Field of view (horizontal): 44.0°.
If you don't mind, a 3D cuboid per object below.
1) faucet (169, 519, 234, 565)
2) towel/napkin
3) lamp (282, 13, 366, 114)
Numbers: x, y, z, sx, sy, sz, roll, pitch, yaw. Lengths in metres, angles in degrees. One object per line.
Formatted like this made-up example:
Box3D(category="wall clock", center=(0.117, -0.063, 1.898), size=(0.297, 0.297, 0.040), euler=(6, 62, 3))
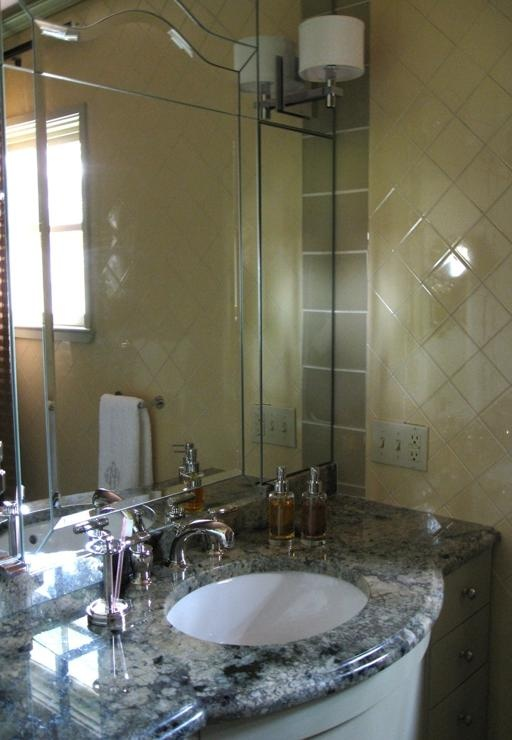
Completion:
Box3D(category="faucet", center=(-0.101, 0.321, 1.154), size=(0.058, 0.097, 0.135), euler=(-5, 8, -43))
Box3D(category="towel/napkin", center=(-0.239, 0.133, 1.150), size=(0.016, 0.184, 0.130), euler=(4, 7, 33))
Box3D(category="lamp", center=(0.158, -0.663, 1.433), size=(0.214, 0.236, 0.187), euler=(-4, 12, -7))
